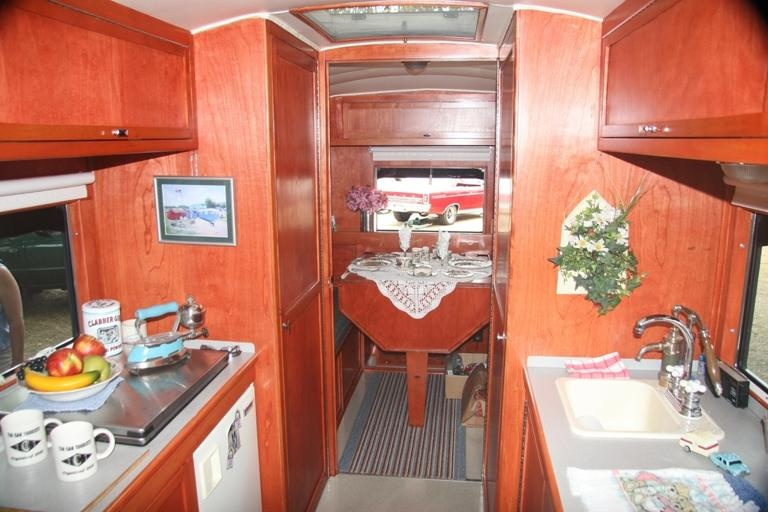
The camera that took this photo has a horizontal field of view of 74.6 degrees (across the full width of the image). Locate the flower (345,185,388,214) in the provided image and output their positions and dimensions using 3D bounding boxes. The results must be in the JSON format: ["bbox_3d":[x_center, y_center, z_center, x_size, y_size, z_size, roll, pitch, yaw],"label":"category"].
[{"bbox_3d":[-0.148,-0.532,4.728,0.293,0.199,0.298,1,5,3],"label":"flower"}]

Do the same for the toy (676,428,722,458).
[{"bbox_3d":[1.204,0.695,1.904,0.098,0.048,0.096,4,9,36],"label":"toy"}]

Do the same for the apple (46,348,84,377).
[{"bbox_3d":[-1.291,0.434,2.081,0.116,0.127,0.104,11,35,-27],"label":"apple"}]

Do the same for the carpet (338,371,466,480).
[{"bbox_3d":[0.179,1.340,3.843,0.874,0.167,0.968,2,7,6],"label":"carpet"}]

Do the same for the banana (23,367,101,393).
[{"bbox_3d":[-1.305,0.499,2.025,0.298,0.071,0.073,1,8,-1],"label":"banana"}]

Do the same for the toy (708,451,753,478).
[{"bbox_3d":[1.244,0.744,1.806,0.063,0.032,0.096,-6,-3,0],"label":"toy"}]

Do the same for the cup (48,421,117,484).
[{"bbox_3d":[-1.083,0.705,1.832,0.206,0.153,0.128,-4,1,-41],"label":"cup"}]

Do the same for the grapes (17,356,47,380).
[{"bbox_3d":[-1.452,0.454,2.090,0.087,0.035,0.112,-11,13,-26],"label":"grapes"}]

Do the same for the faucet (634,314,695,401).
[{"bbox_3d":[1.256,0.413,2.286,0.233,0.332,0.339,6,9,25],"label":"faucet"}]

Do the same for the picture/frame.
[{"bbox_3d":[-0.908,-0.236,2.471,0.394,0.278,0.015,1,13,5],"label":"picture/frame"}]

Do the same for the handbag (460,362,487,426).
[{"bbox_3d":[0.712,1.099,3.976,0.220,0.229,0.376,-1,37,12],"label":"handbag"}]

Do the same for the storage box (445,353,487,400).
[{"bbox_3d":[0.693,1.036,4.464,0.380,0.202,0.356,0,6,8],"label":"storage box"}]

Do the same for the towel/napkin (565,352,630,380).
[{"bbox_3d":[1.001,0.521,2.370,0.199,0.056,0.142,-4,18,10],"label":"towel/napkin"}]
